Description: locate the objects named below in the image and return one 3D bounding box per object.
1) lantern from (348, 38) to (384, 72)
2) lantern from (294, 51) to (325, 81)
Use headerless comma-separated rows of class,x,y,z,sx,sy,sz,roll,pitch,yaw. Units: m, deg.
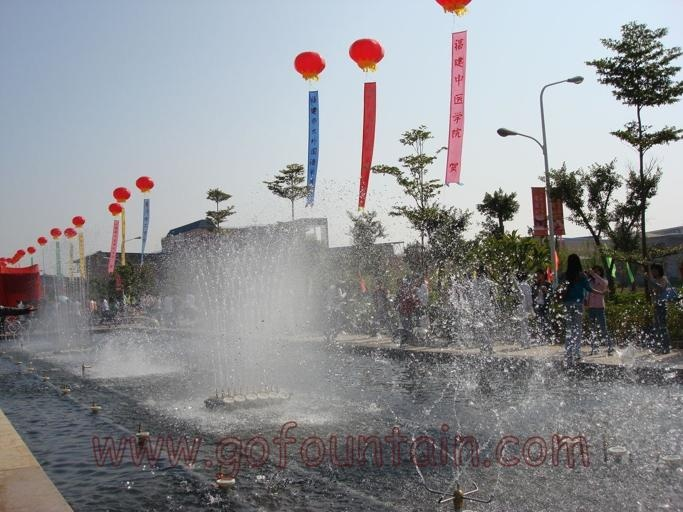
lantern,0.709,-5.768,17.184,0.889,0.863,0.578,-2,2,5
lantern,-0.957,-5.587,17.588,0.814,0.678,0.587,-2,2,3
